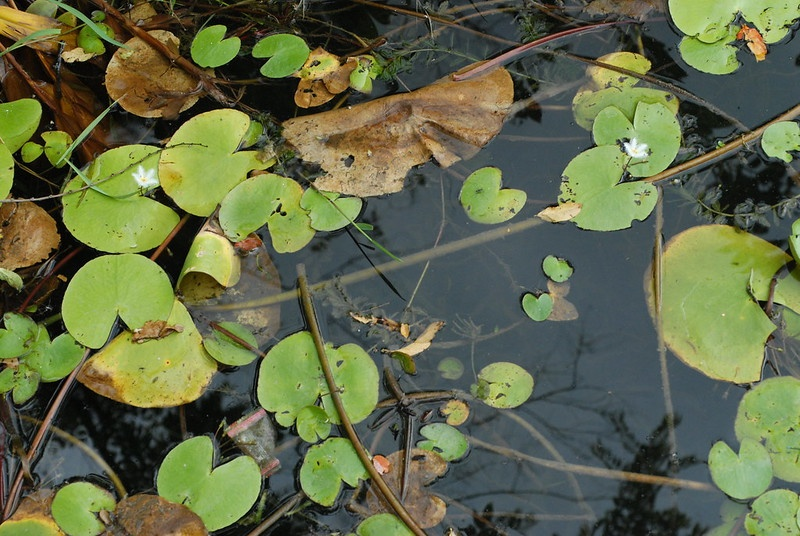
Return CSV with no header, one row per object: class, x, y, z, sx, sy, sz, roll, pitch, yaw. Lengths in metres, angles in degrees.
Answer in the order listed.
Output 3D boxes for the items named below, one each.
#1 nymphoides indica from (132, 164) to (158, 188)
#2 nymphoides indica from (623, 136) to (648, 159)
nymphoides indica,-1.609,-0.576,5.861,0.139,0.045,0.158,-40,80,-4
nymphoides indica,1.523,-0.763,5.926,0.167,0.013,0.124,29,83,8
